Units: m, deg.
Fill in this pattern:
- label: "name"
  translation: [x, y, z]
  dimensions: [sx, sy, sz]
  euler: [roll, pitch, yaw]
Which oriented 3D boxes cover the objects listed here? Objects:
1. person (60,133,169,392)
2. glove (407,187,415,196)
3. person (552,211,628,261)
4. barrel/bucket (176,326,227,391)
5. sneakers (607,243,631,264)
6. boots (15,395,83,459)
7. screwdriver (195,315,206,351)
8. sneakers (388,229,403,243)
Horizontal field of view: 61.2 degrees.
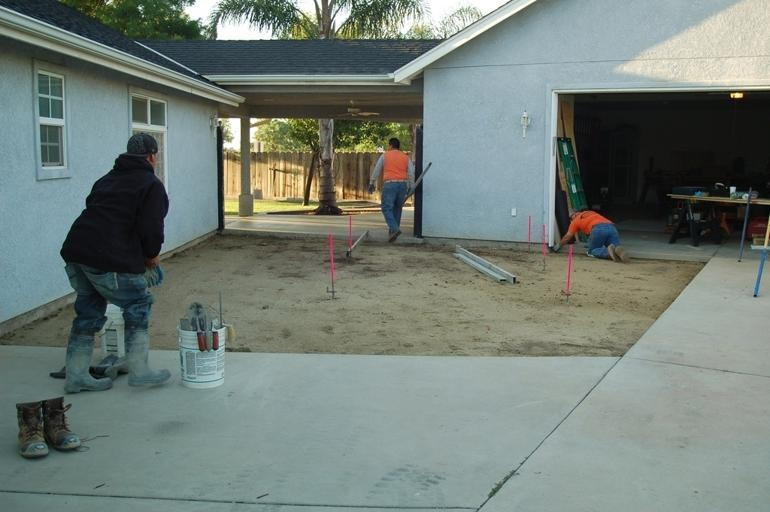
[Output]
- label: "person"
  translation: [-2.557, 0.063, 6.167]
  dimensions: [1.030, 2.369, 0.480]
  euler: [-4, 13, -19]
- label: "glove"
  translation: [0.562, -1.408, 14.112]
  dimensions: [0.105, 0.069, 0.311]
  euler: [31, 14, 6]
- label: "person"
  translation: [3.874, -0.376, 12.460]
  dimensions: [0.852, 0.687, 1.361]
  euler: [-11, 26, -20]
- label: "barrel/bucket"
  translation: [-1.680, 0.979, 6.372]
  dimensions: [0.516, 0.543, 0.528]
  euler: [0, 3, 0]
- label: "sneakers"
  translation: [4.299, -0.045, 12.060]
  dimensions: [0.239, 0.195, 0.537]
  euler: [14, 10, -14]
- label: "boots"
  translation: [-2.793, 1.405, 5.371]
  dimensions: [0.376, 0.288, 0.540]
  euler: [0, 3, -41]
- label: "screwdriver"
  translation: [-1.740, 0.737, 6.185]
  dimensions: [0.091, 0.342, 0.104]
  euler: [-5, -9, 17]
- label: "sneakers"
  translation: [0.219, -0.440, 14.145]
  dimensions: [0.147, 0.160, 0.368]
  euler: [9, -40, -28]
